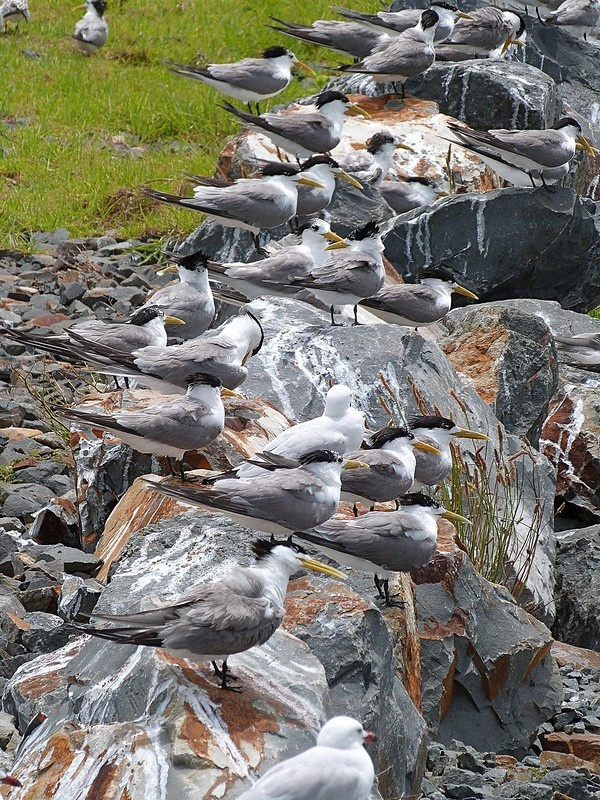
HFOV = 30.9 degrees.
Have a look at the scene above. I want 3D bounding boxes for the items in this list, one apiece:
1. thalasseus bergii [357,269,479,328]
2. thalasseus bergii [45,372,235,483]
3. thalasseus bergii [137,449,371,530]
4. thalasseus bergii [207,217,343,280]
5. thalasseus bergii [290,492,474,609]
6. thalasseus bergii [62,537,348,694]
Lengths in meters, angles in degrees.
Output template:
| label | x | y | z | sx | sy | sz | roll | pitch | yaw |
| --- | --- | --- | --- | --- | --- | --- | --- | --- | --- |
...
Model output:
| label | x | y | z | sx | sy | sz | roll | pitch | yaw |
| --- | --- | --- | --- | --- | --- | --- | --- | --- | --- |
| thalasseus bergii | 0.807 | -0.731 | 8.230 | 1.080 | 0.502 | 0.374 | 1 | 14 | -29 |
| thalasseus bergii | -0.781 | 0.156 | 5.445 | 0.974 | 0.477 | 0.330 | -5 | 8 | -41 |
| thalasseus bergii | -0.201 | 0.422 | 4.784 | 0.991 | 0.458 | 0.329 | 12 | -2 | -34 |
| thalasseus bergii | -0.177 | -1.028 | 8.212 | 1.188 | 0.551 | 0.300 | 0 | 16 | 31 |
| thalasseus bergii | 0.345 | 0.676 | 5.029 | 0.872 | 0.450 | 0.360 | 4 | -5 | -16 |
| thalasseus bergii | -0.356 | 0.728 | 3.758 | 1.069 | 0.495 | 0.336 | 7 | 6 | -35 |
